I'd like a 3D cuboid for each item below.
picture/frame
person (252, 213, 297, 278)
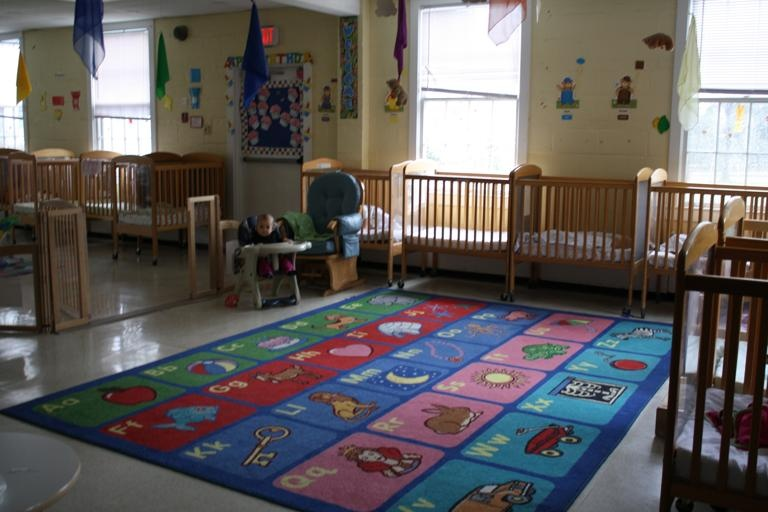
[{"bbox_3d":[-1.517,-1.883,7.712,1.208,1.232,0.141,3,4,22],"label":"picture/frame"},{"bbox_3d":[-1.152,-0.153,5.849,0.407,0.581,0.750,-2,15,-9],"label":"person"}]
